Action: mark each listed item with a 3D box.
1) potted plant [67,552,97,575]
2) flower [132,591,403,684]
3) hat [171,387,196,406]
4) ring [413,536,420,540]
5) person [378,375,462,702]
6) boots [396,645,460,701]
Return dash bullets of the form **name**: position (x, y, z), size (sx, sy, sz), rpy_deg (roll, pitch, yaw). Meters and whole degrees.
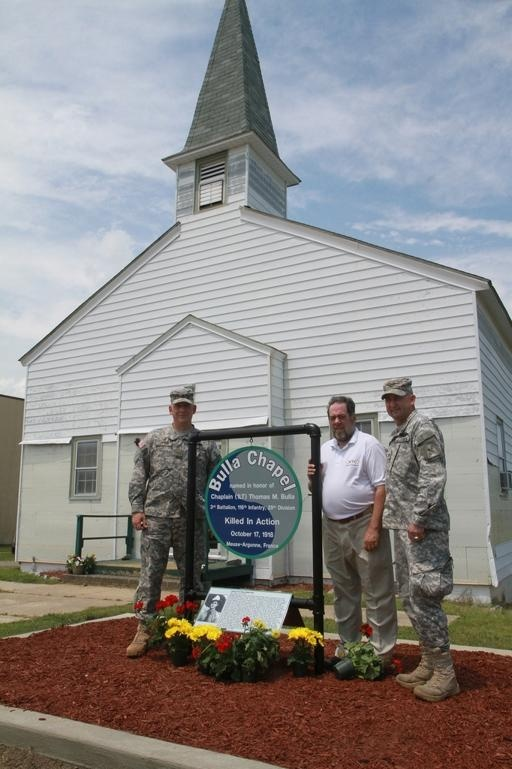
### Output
- **potted plant**: position (-2.951, 3.068, 10.445), size (0.512, 0.298, 0.410), rpy_deg (-2, -10, 1)
- **flower**: position (0.022, 1.569, 3.861), size (1.696, 0.440, 0.712), rpy_deg (-3, -10, 10)
- **hat**: position (-0.550, 0.080, 4.620), size (0.145, 0.098, 0.161), rpy_deg (0, -8, 0)
- **ring**: position (0.880, 0.840, 3.364), size (0.022, 0.012, 0.021), rpy_deg (-3, -9, -1)
- **person**: position (0.941, 0.805, 3.551), size (0.345, 1.771, 0.473), rpy_deg (-1, -11, -1)
- **boots**: position (0.895, 1.552, 3.351), size (0.247, 0.235, 0.328), rpy_deg (6, -12, -35)
